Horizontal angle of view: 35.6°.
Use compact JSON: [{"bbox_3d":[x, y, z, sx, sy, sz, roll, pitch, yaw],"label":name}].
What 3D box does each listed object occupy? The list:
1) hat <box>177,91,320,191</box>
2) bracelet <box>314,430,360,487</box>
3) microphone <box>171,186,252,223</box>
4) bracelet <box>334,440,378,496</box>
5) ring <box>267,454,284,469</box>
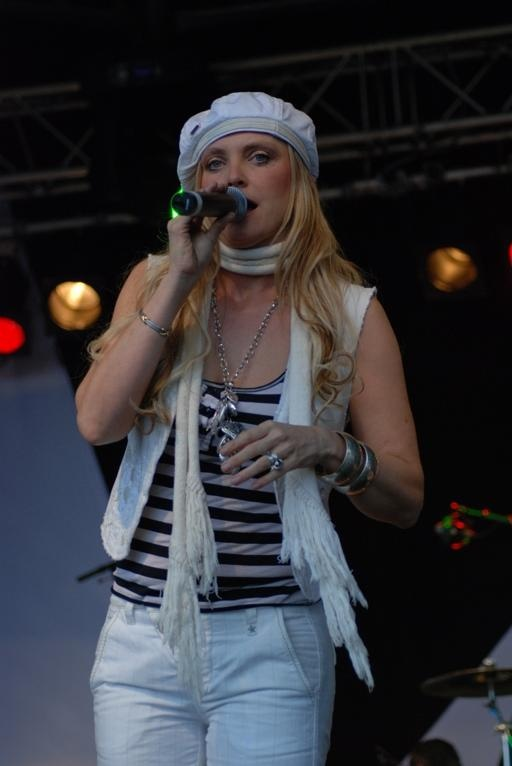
[{"bbox_3d":[-0.022,-0.451,1.501,0.225,0.110,0.163,1,-1,-3],"label":"hat"},{"bbox_3d":[0.142,0.123,1.359,0.066,0.076,0.055,-6,-12,36],"label":"bracelet"},{"bbox_3d":[-0.070,-0.301,1.337,0.103,0.036,0.033,0,62,-59],"label":"microphone"},{"bbox_3d":[0.169,0.144,1.383,0.068,0.081,0.083,12,4,-37],"label":"bracelet"},{"bbox_3d":[0.028,0.119,1.217,0.025,0.019,0.011,54,-12,3],"label":"ring"}]
